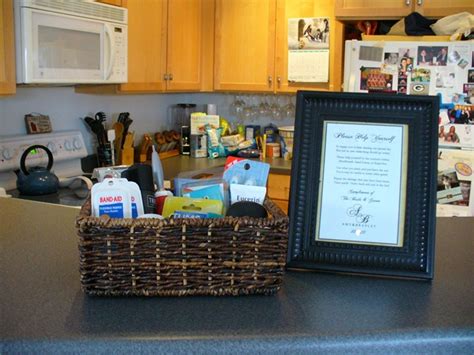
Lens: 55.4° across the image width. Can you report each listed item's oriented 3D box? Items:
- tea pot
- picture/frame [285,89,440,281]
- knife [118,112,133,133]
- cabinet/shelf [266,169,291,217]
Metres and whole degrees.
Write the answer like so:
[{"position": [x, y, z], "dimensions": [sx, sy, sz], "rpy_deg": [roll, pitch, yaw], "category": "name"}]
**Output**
[{"position": [-1.072, -0.045, 2.423], "dimensions": [0.216, 0.291, 0.277], "rpy_deg": [8, 9, 32], "category": "tea pot"}, {"position": [0.297, 0.011, 1.076], "dimensions": [0.336, 0.425, 0.028], "rpy_deg": [4, -4, 6], "category": "picture/frame"}, {"position": [-0.796, -0.403, 3.216], "dimensions": [0.114, 0.170, 0.073], "rpy_deg": [-2, -12, 5], "category": "knife"}, {"position": [0.282, 0.137, 3.210], "dimensions": [0.202, 0.342, 0.201], "rpy_deg": [-2, 17, -16], "category": "cabinet/shelf"}]
